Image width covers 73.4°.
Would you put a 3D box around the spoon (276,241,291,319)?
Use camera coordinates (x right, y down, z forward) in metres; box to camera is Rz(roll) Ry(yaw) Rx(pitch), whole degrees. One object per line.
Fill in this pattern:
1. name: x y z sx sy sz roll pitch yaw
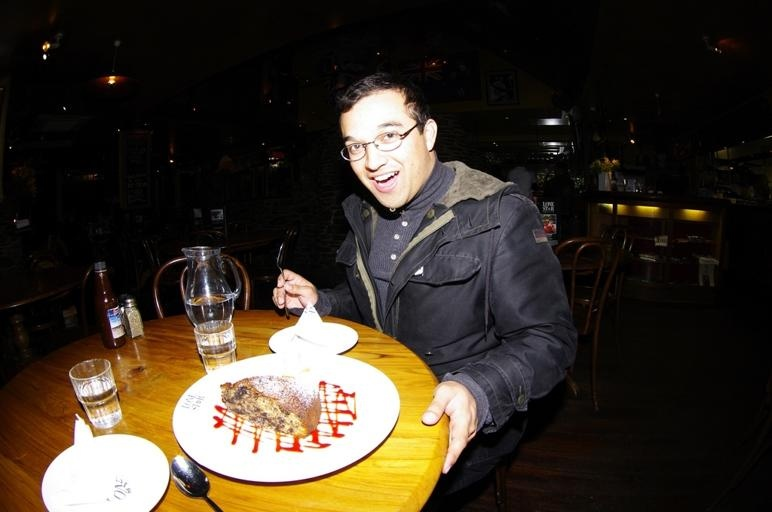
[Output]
1. spoon: -0.891 0.195 4.489 0.105 0.701 0.103 -4 14 -23

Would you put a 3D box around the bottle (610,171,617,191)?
1. bottle: 3.100 -1.043 7.089 0.025 0.261 0.189 0 6 -14

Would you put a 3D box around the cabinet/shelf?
1. cabinet/shelf: 3.059 -0.015 5.748 0.578 1.250 1.476 -4 5 -27
